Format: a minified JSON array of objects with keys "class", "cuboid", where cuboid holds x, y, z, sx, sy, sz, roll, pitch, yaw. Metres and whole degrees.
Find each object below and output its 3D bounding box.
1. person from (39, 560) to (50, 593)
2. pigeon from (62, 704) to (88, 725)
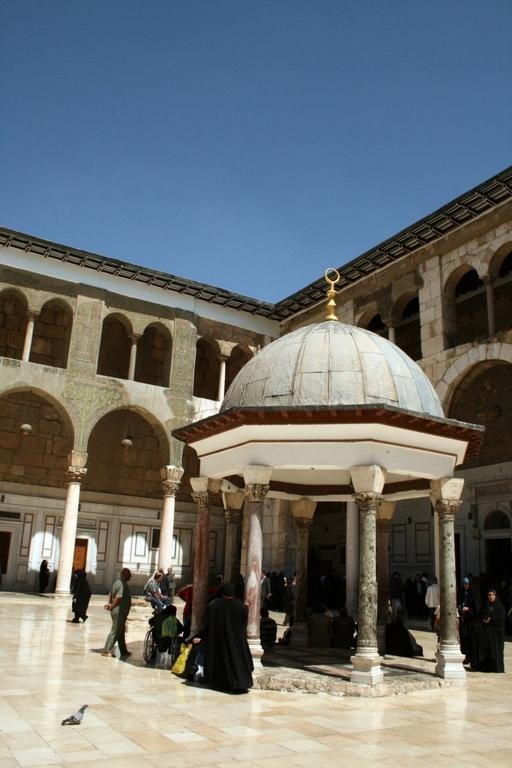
[{"class":"person","cuboid":[-6.523,5.911,18.510,0.312,0.943,0.880,7,-18,-18]},{"class":"pigeon","cuboid":[-1.185,2.138,3.903,0.125,0.117,0.392,4,-17,-10]}]
